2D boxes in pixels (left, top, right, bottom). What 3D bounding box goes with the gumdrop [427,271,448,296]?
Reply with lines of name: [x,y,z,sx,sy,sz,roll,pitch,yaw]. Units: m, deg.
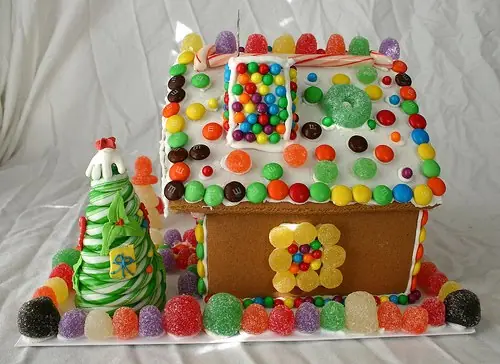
gumdrop: [1.073,0.581,2.573,0.076,0.137,0.105,21,-2,45]

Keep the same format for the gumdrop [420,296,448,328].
gumdrop: [0.992,0.706,2.385,0.140,0.155,0.173,-11,2,15]

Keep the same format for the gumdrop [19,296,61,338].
gumdrop: [-1.051,0.680,2.187,0.191,0.194,0.198,2,-5,-19]

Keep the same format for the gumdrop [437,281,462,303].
gumdrop: [1.114,0.598,2.455,0.116,0.065,0.096,-37,33,-21]

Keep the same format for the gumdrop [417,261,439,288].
gumdrop: [1.055,0.547,2.615,0.121,0.079,0.145,-15,39,32]

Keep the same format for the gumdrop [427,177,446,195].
gumdrop: [1.002,0.025,2.391,0.078,0.055,0.099,-22,62,-11]

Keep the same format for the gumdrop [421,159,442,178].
gumdrop: [0.985,-0.060,2.398,0.093,0.096,0.047,-19,-12,-6]
